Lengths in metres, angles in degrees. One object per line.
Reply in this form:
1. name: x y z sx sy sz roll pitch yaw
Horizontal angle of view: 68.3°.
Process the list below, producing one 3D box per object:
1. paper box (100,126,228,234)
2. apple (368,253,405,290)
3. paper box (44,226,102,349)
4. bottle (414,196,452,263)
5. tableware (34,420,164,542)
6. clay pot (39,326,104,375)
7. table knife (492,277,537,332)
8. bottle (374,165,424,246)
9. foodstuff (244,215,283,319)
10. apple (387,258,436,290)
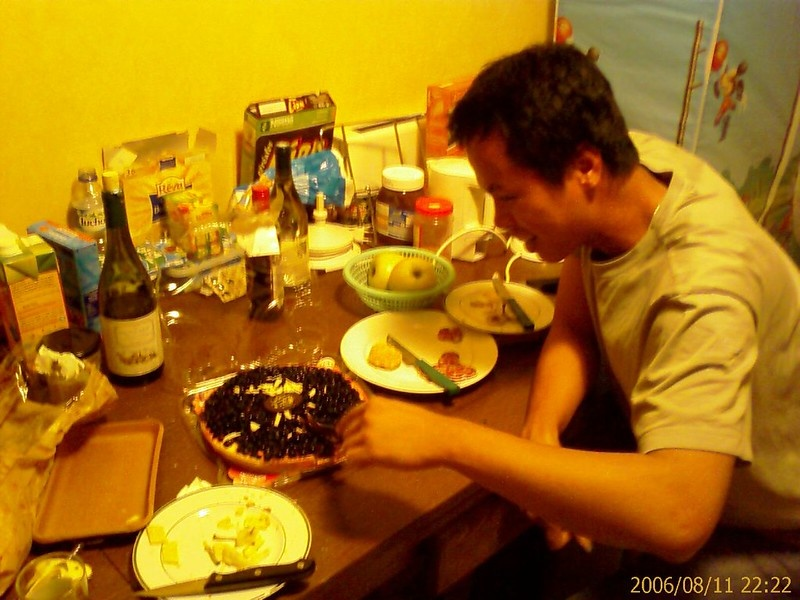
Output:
1. paper box: -0.541 -0.269 1.321 0.074 0.229 0.226 29 41 34
2. apple: -0.040 -0.071 1.359 0.074 0.083 0.078 0 16 -17
3. paper box: -0.633 -0.020 1.133 0.041 0.215 0.142 -23 44 -39
4. bottle: 0.080 -0.175 1.473 0.090 0.157 0.095 0 31 0
5. tableware: -0.459 0.265 0.916 0.163 0.045 0.193 -11 28 -11
6. clay pot: -0.623 0.081 1.121 0.084 0.088 0.087 3 34 -2
7. table knife: 0.253 0.010 1.323 0.034 0.018 0.208 27 21 -23
8. bottle: -0.001 -0.242 1.549 0.136 0.210 0.130 1 28 -1
9. foodstuff: -0.290 -0.068 1.252 0.072 0.255 0.071 -19 44 -27
10. apple: 0.025 -0.051 1.366 0.076 0.082 0.095 25 1 -1
